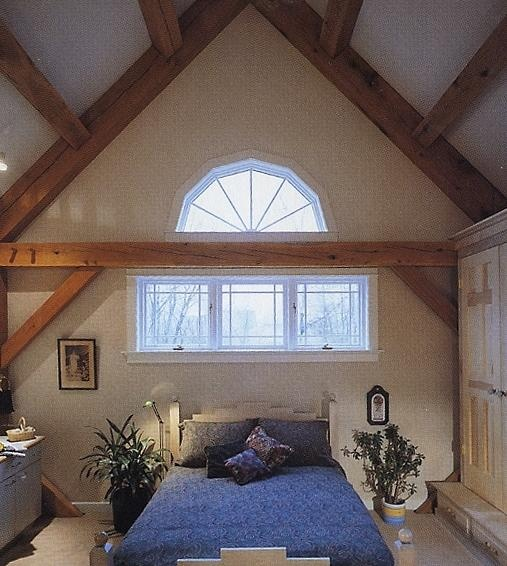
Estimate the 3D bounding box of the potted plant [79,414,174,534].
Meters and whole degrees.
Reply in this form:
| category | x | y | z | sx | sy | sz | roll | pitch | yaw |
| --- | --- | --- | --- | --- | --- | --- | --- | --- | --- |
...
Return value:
| category | x | y | z | sx | sy | sz | roll | pitch | yaw |
| --- | --- | --- | --- | --- | --- | --- | --- | --- | --- |
| potted plant | -0.878 | 1.397 | 4.185 | 0.857 | 0.752 | 0.642 | -3 | -8 | 21 |

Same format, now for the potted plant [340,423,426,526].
| category | x | y | z | sx | sy | sz | roll | pitch | yaw |
| --- | --- | --- | --- | --- | --- | --- | --- | --- | --- |
| potted plant | 0.991 | 1.297 | 4.146 | 0.687 | 0.833 | 0.726 | -2 | -5 | 7 |

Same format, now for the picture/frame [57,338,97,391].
| category | x | y | z | sx | sy | sz | roll | pitch | yaw |
| --- | --- | --- | --- | --- | --- | --- | --- | --- | --- |
| picture/frame | -1.376 | 0.646 | 4.346 | 0.444 | 0.540 | 0.023 | -1 | -4 | -3 |
